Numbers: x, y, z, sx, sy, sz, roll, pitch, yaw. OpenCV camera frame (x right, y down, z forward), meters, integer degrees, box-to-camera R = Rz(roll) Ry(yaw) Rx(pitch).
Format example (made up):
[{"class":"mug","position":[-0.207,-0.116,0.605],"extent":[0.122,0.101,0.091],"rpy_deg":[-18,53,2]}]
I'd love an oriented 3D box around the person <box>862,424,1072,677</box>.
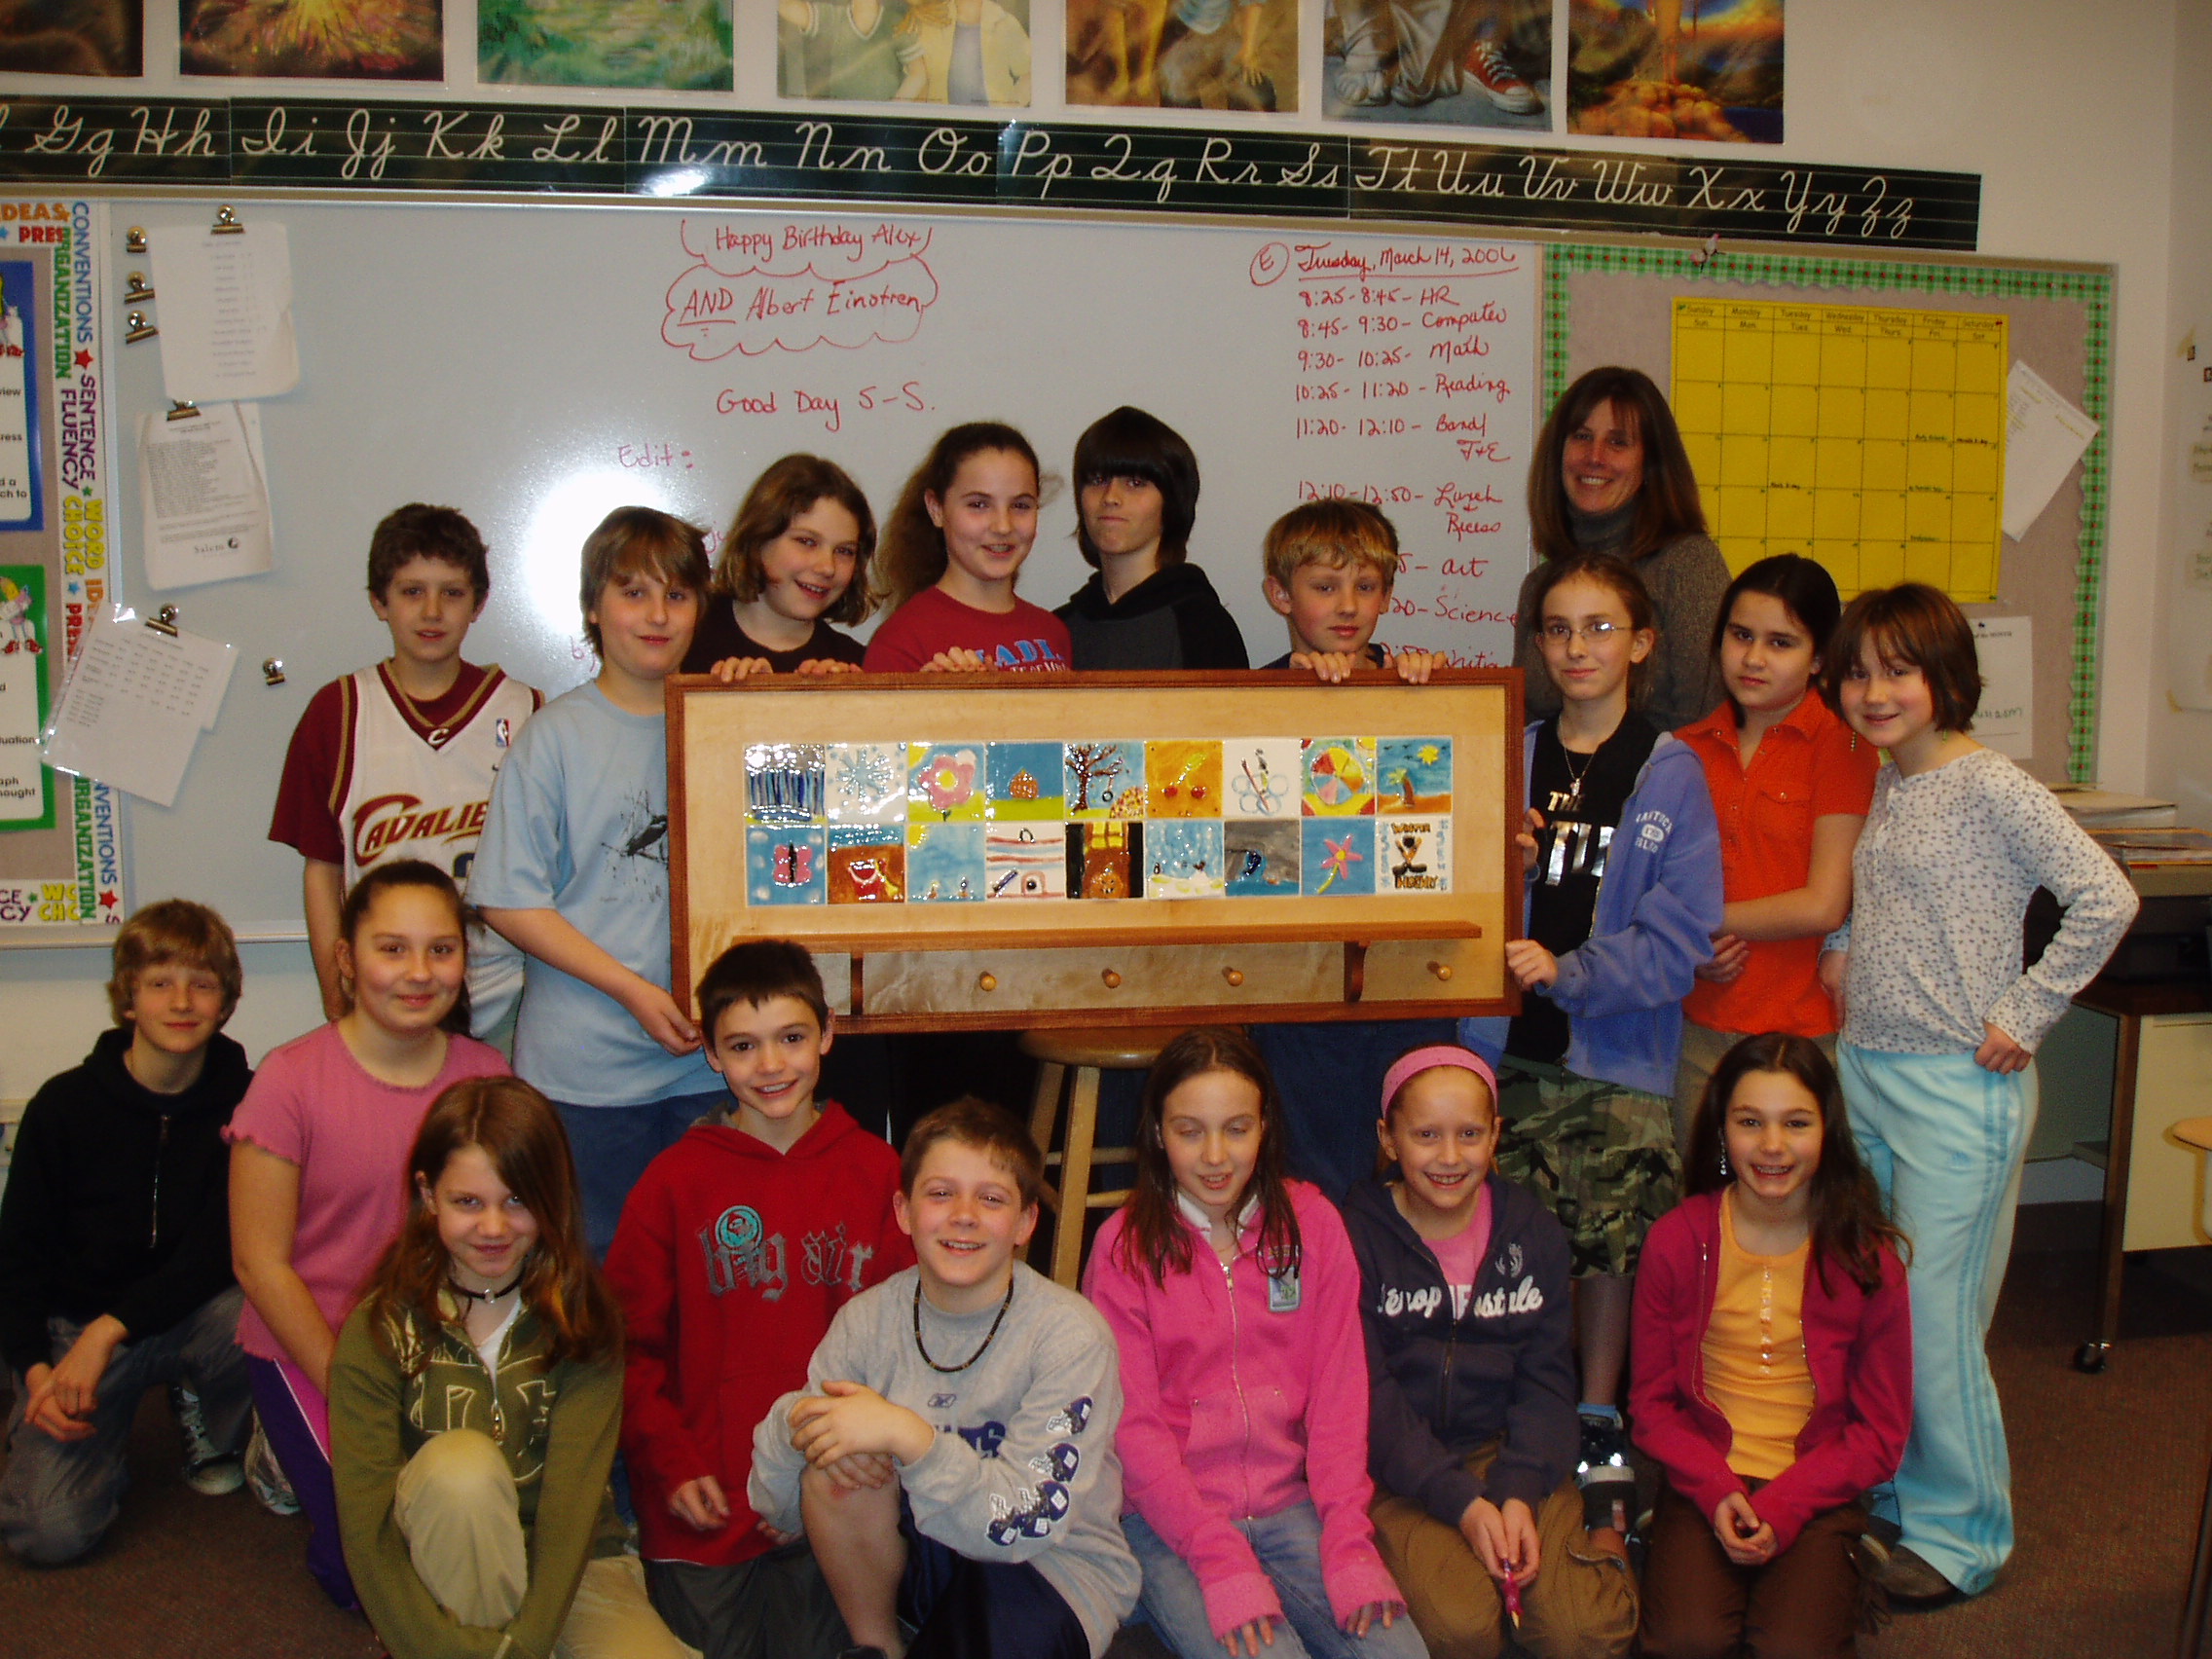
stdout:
[{"class":"person","position":[-0.298,-0.596,3.961],"extent":[0.412,0.518,0.979],"rpy_deg":[-2,5,-3]}]

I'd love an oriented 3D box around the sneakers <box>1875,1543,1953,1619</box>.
[{"class":"sneakers","position":[1.442,1.358,3.322],"extent":[0.128,0.046,0.096],"rpy_deg":[3,7,-12]}]

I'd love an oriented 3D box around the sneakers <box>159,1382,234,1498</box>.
[{"class":"sneakers","position":[-1.788,1.217,3.666],"extent":[0.082,0.258,0.107],"rpy_deg":[-12,-11,-25]}]

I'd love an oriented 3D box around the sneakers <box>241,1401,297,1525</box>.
[{"class":"sneakers","position":[-1.606,1.237,3.618],"extent":[0.109,0.138,0.318],"rpy_deg":[1,-1,-13]}]
